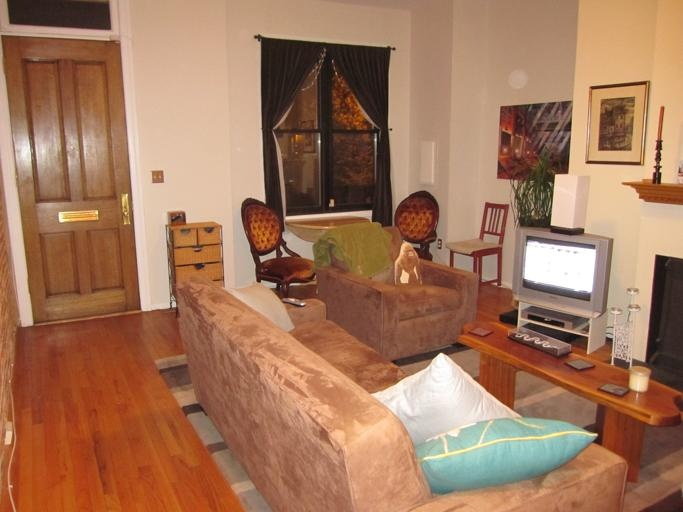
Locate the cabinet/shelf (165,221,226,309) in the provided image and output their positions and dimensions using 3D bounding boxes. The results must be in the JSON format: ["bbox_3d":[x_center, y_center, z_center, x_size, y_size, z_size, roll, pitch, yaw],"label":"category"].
[{"bbox_3d":[-1.535,0.100,5.695,0.508,0.855,0.308,-6,16,-27],"label":"cabinet/shelf"}]

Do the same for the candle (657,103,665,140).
[{"bbox_3d":[2.553,-1.067,4.345,0.044,0.271,0.233,4,11,30],"label":"candle"}]

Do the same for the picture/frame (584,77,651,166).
[{"bbox_3d":[2.384,-1.165,4.661,0.038,0.951,0.699,-13,16,-37],"label":"picture/frame"}]

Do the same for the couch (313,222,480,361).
[{"bbox_3d":[0.417,0.305,5.150,1.213,1.194,1.281,-9,14,-30],"label":"couch"}]

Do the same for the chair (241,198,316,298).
[{"bbox_3d":[-0.955,0.041,6.231,0.632,1.015,0.730,-3,-19,-35],"label":"chair"}]
